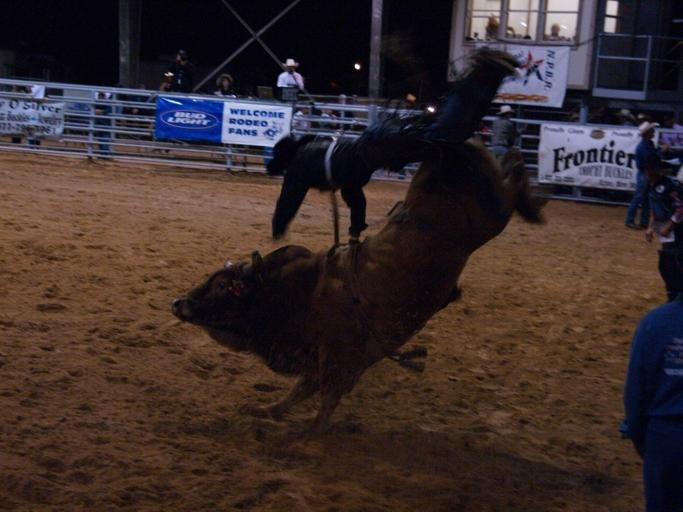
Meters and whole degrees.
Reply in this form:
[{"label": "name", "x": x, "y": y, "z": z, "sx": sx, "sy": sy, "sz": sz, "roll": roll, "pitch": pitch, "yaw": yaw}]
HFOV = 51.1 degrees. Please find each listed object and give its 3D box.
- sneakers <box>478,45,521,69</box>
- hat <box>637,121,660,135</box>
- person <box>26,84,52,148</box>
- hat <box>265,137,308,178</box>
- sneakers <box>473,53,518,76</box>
[{"label": "sneakers", "x": 1.095, "y": -1.394, "z": 5.031, "sx": 0.248, "sy": 0.075, "sz": 0.191, "roll": -5, "pitch": 21, "yaw": -43}, {"label": "hat", "x": 5.349, "y": -2.267, "z": 12.658, "sx": 0.209, "sy": 0.246, "sz": 0.383, "roll": 7, "pitch": 8, "yaw": 17}, {"label": "person", "x": -6.639, "y": -3.088, "z": 15.737, "sx": 0.329, "sy": 1.309, "sz": 0.792, "roll": 1, "pitch": 9, "yaw": -23}, {"label": "hat", "x": -0.394, "y": -0.756, "z": 5.371, "sx": 0.291, "sy": 0.311, "sz": 0.239, "roll": 5, "pitch": 8, "yaw": 9}, {"label": "sneakers", "x": 1.076, "y": -1.366, "z": 5.040, "sx": 0.329, "sy": 0.166, "sz": 0.087, "roll": 4, "pitch": 9, "yaw": 6}]
